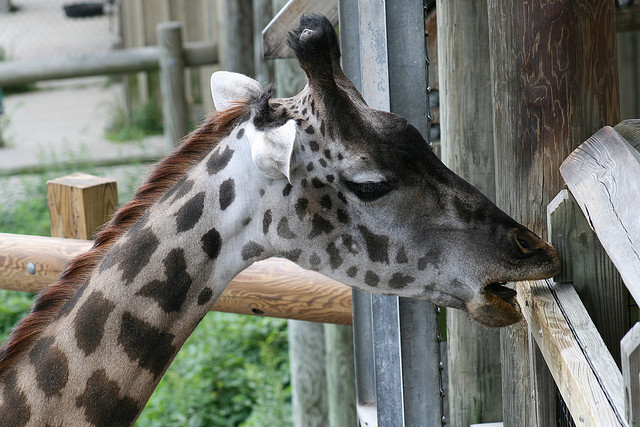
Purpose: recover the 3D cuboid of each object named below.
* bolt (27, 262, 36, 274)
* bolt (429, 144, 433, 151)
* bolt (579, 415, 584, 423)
[{"bbox_3d":[-1.721,0.320,6.874,0.049,0.064,0.013,3,2,14],"label":"bolt"},{"bbox_3d":[0.574,-0.347,5.960,0.008,0.032,0.031,-25,18,11],"label":"bolt"},{"bbox_3d":[1.253,0.972,5.535,0.017,0.039,0.025,-6,13,12],"label":"bolt"}]
